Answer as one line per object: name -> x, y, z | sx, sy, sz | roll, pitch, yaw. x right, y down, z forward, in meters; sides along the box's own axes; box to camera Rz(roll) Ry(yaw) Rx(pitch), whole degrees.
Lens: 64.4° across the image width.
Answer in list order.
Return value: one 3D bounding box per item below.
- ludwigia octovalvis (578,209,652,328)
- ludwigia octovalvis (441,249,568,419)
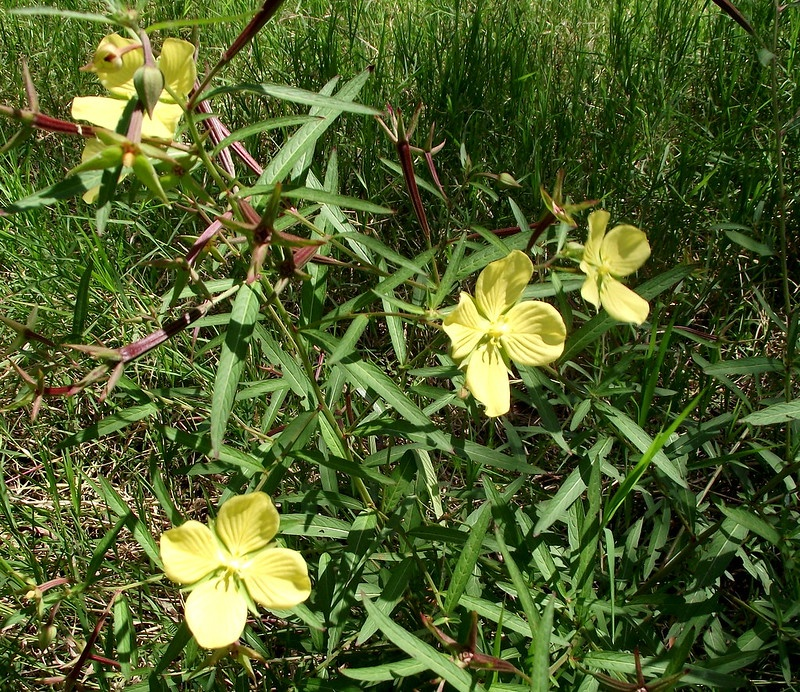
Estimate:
ludwigia octovalvis -> 0.519, -0.208, 1.602 | 0.102, 0.208, 0.284 | -10, 61, 40
ludwigia octovalvis -> 0.248, -0.028, 1.581 | 0.295, 0.262, 0.253 | -35, 58, -24
